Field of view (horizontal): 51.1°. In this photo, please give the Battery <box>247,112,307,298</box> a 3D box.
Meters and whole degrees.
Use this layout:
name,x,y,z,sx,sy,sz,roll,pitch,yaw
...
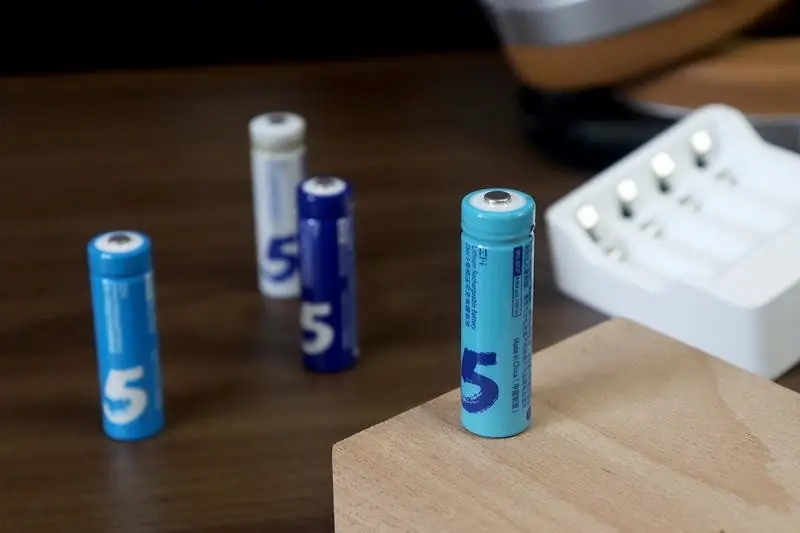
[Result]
name,x,y,z,sx,sy,sz,roll,pitch,yaw
Battery,-0.138,-0.068,0.974,0.067,0.185,0.132,-4,30,3

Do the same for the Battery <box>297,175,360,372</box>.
name,x,y,z,sx,sy,sz,roll,pitch,yaw
Battery,-0.075,0.014,0.862,0.061,0.174,0.103,-4,30,2

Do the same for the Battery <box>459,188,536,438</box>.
name,x,y,z,sx,sy,sz,roll,pitch,yaw
Battery,0.076,0.038,0.660,0.057,0.188,0.086,0,31,10
